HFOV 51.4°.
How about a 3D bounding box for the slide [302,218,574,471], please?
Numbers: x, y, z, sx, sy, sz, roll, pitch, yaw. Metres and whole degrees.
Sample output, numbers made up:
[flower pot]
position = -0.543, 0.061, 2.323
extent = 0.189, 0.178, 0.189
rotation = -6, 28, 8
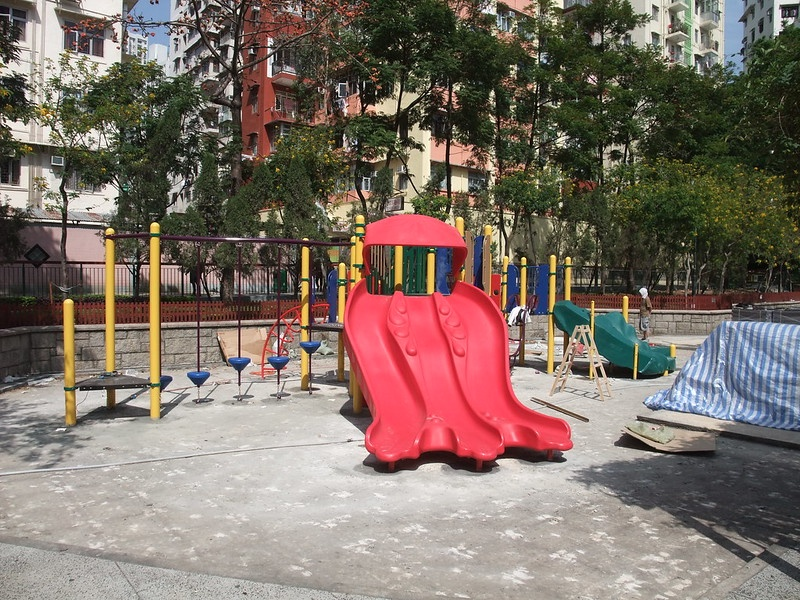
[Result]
[slide]
position = 0.676, 0.568, 16.378
extent = 3.589, 3.986, 6.253
rotation = 0, 13, -13
